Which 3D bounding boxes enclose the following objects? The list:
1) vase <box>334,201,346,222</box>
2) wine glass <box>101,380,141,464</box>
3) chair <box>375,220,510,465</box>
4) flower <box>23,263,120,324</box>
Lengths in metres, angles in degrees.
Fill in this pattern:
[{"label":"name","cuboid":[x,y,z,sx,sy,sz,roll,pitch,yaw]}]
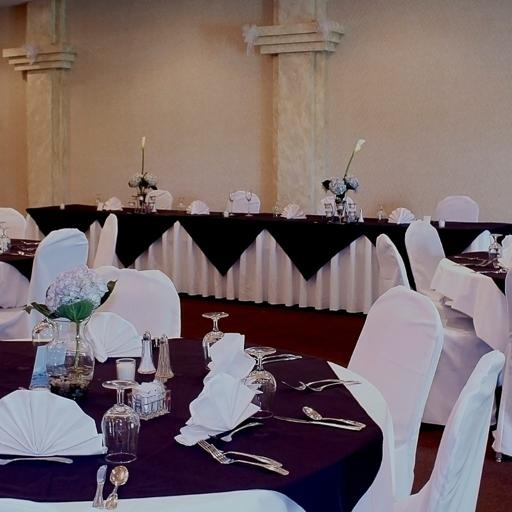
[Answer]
[{"label":"vase","cuboid":[0.710,-0.374,6.377,0.072,0.176,0.050,2,-3,0]},{"label":"wine glass","cuboid":[-0.346,0.398,1.894,0.095,0.159,0.203,-1,9,-13]},{"label":"chair","cuboid":[1.207,0.321,4.352,0.688,1.457,0.811,0,-1,-24]},{"label":"flower","cuboid":[-0.530,0.103,2.173,0.239,0.152,0.191,-2,10,-19]}]
